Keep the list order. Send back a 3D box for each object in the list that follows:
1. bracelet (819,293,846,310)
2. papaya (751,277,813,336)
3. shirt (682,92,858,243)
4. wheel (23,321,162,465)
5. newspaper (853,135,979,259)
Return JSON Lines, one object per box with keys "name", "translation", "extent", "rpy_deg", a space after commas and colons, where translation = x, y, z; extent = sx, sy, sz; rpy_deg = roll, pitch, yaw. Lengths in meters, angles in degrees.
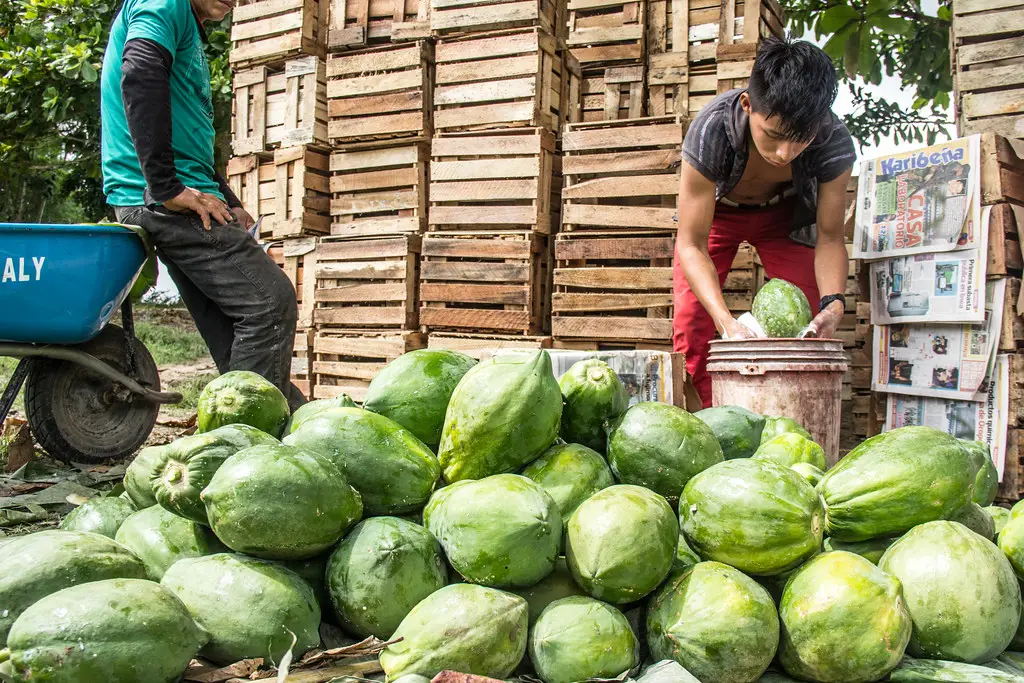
{"name": "bracelet", "translation": [2.205, -0.288, 5.470], "extent": [0.157, 0.081, 0.138], "rpy_deg": [-2, 0, -10]}
{"name": "papaya", "translation": [1.758, -0.201, 5.231], "extent": [0.285, 0.249, 0.407], "rpy_deg": [20, 30, -1]}
{"name": "shirt", "translation": [1.762, -1.227, 5.561], "extent": [1.128, 1.022, 0.596], "rpy_deg": [0, 2, -13]}
{"name": "wheel", "translation": [-3.030, 0.371, 5.707], "extent": [0.300, 0.840, 0.961], "rpy_deg": [9, 11, 33]}
{"name": "newspaper", "translation": [2.975, -1.039, 5.891], "extent": [1.053, 0.791, 0.070], "rpy_deg": [-10, 20, -15]}
